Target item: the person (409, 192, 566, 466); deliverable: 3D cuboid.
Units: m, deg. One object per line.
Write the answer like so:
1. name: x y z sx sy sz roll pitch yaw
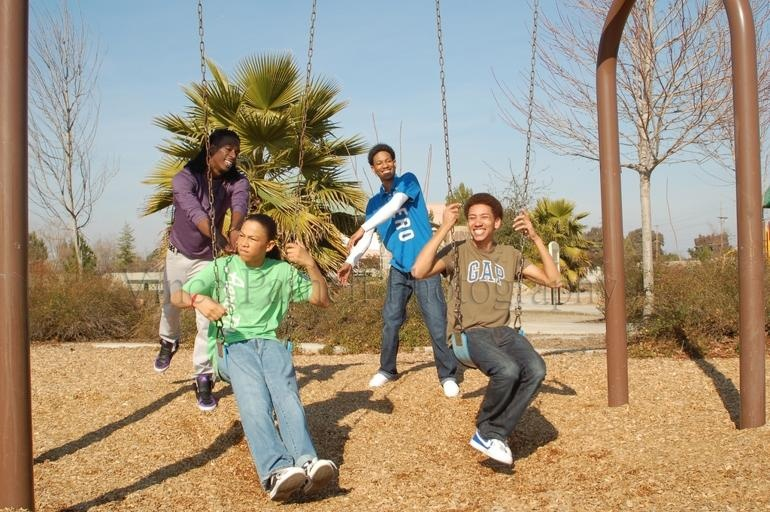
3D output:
1. person: 0.943 0.523 5.224 1.097 1.998 0.985 -11 14 -28

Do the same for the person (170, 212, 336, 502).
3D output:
1. person: -0.975 0.660 4.961 1.279 1.092 2.489 -5 33 -20

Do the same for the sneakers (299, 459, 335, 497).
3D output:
1. sneakers: -0.516 1.678 4.726 0.177 0.429 0.197 12 44 -21

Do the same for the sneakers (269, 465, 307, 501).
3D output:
1. sneakers: -0.719 1.687 4.587 0.298 0.308 0.169 -6 13 -9

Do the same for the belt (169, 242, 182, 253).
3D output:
1. belt: -2.001 -0.084 5.965 0.101 0.108 0.075 -1 19 -40

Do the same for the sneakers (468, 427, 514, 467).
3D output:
1. sneakers: 0.837 1.550 5.015 0.177 0.222 0.477 6 3 -41
